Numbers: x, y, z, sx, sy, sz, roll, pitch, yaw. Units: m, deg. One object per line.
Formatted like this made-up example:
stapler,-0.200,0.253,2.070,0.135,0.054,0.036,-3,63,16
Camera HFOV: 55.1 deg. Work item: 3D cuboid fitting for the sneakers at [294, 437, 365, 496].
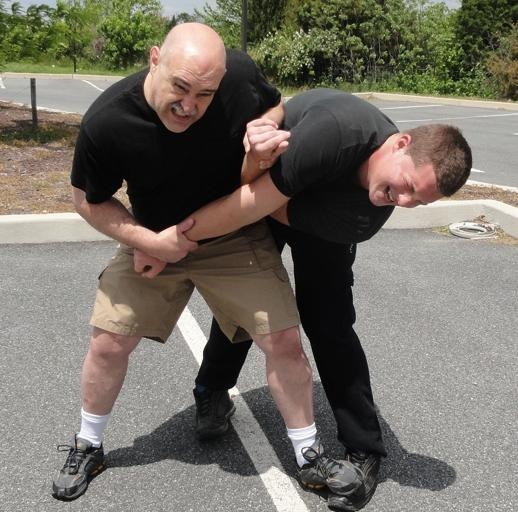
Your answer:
sneakers,0.307,0.925,2.144,0.148,0.173,0.383,-28,1,-30

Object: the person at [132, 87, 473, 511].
person,0.212,0.191,2.146,0.986,1.743,0.559,15,22,17

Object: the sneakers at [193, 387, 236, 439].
sneakers,-0.231,0.800,2.547,0.124,0.144,0.326,-7,10,12

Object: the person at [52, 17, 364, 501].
person,-0.300,0.040,2.116,1.244,1.802,0.948,-3,12,-16

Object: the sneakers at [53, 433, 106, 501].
sneakers,-0.804,0.910,2.177,0.148,0.167,0.304,8,15,9
